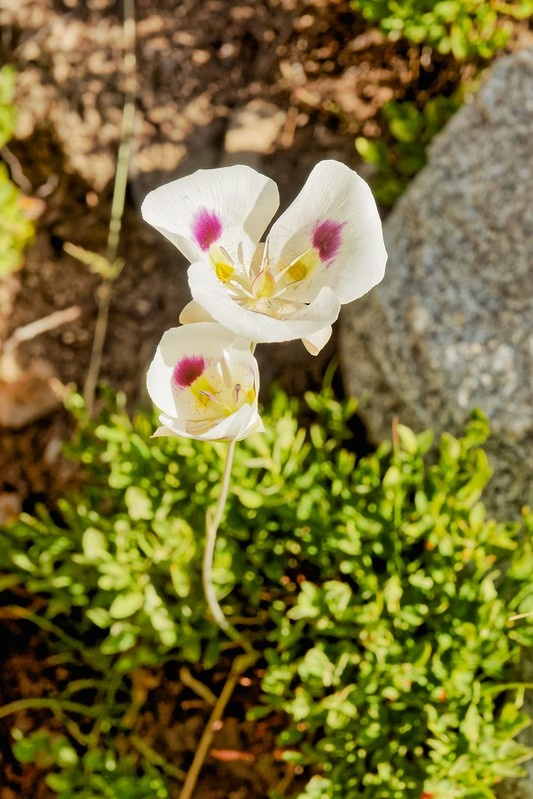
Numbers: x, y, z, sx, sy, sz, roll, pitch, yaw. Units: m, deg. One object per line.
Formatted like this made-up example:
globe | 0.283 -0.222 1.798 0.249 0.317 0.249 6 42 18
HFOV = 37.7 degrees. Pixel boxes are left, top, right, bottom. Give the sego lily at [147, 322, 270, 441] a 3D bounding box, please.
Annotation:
sego lily | -0.142 -0.050 2.147 0.325 0.215 0.318 -5 79 21
